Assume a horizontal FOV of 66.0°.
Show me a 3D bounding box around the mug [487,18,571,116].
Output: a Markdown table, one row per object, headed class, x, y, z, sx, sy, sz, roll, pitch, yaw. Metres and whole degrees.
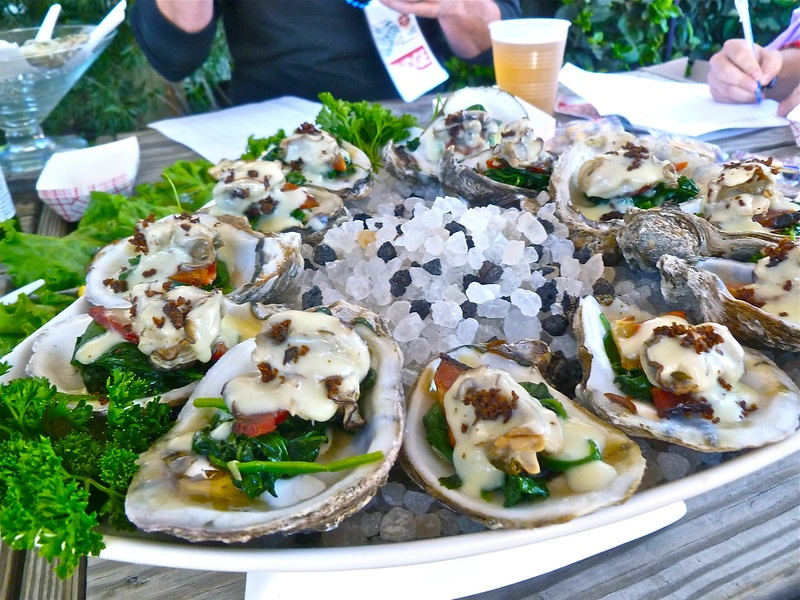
| class | x | y | z | sx | sy | sz | roll | pitch | yaw |
| --- | --- | --- | --- | --- | --- | --- | --- | --- | --- |
| mug | 0.471 | -0.862 | 2.250 | 0.403 | 0.324 | 0.359 | -8 | 29 | -11 |
